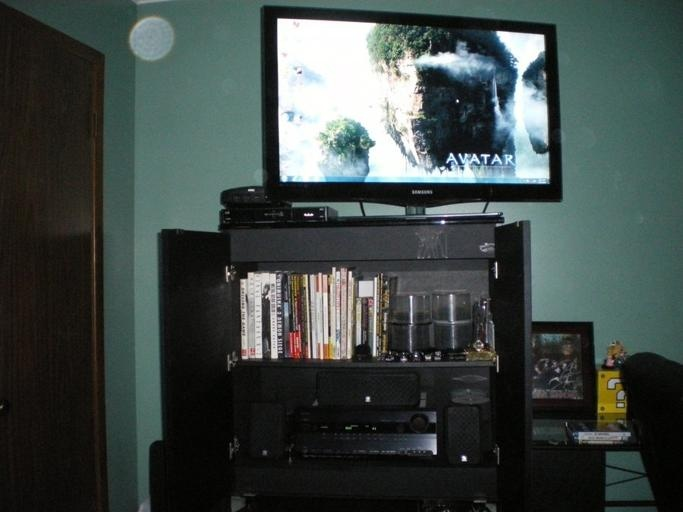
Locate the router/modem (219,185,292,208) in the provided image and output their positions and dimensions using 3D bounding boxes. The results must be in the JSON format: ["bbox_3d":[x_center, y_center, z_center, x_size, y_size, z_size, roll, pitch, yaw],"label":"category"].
[{"bbox_3d":[-0.393,-0.270,3.453,0.315,0.109,0.139,0,-1,0],"label":"router/modem"}]

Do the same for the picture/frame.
[{"bbox_3d":[1.053,0.552,3.576,0.398,0.506,0.040,2,-8,-1],"label":"picture/frame"}]

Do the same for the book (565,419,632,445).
[{"bbox_3d":[1.151,0.796,3.382,0.286,0.089,0.104,-1,-1,5],"label":"book"}]

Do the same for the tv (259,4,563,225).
[{"bbox_3d":[0.306,-0.650,3.507,1.002,0.707,0.146,0,-4,-3],"label":"tv"}]
